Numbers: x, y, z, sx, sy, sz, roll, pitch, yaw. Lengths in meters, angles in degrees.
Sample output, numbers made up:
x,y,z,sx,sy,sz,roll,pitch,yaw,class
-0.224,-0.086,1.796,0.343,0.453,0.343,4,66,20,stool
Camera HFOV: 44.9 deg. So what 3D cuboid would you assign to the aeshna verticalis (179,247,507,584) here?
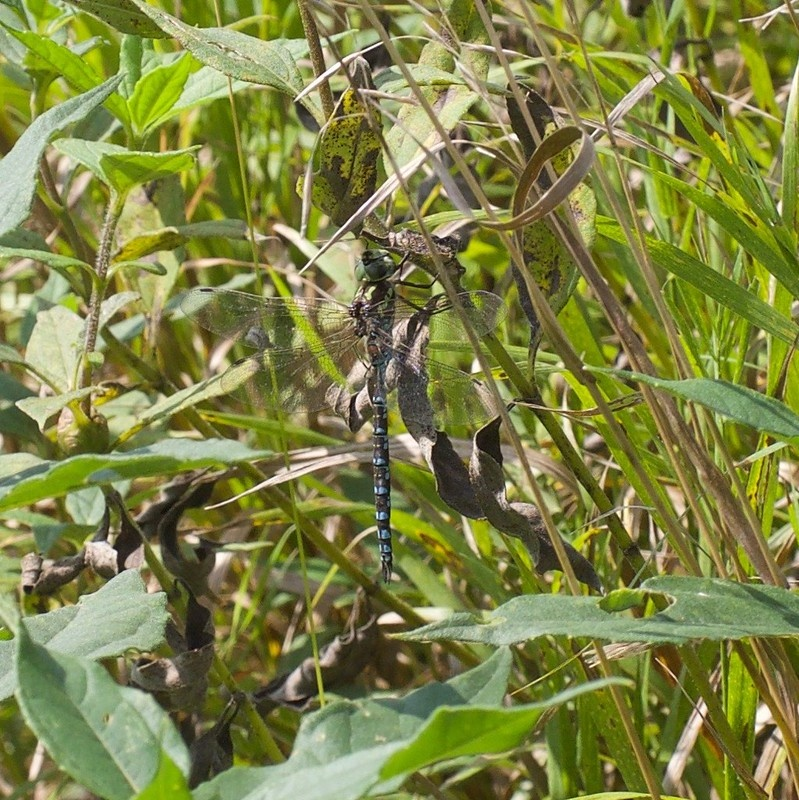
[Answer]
x,y,z,sx,sy,sz,roll,pitch,yaw,class
-0.061,0.021,1.718,0.318,0.646,0.579,12,33,9,aeshna verticalis
